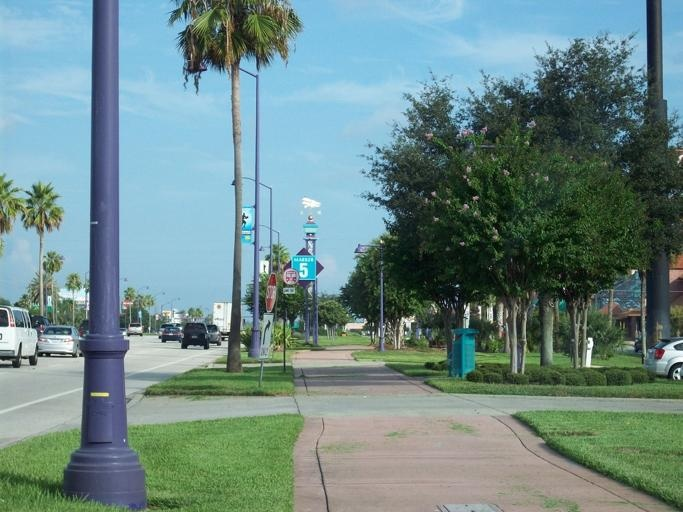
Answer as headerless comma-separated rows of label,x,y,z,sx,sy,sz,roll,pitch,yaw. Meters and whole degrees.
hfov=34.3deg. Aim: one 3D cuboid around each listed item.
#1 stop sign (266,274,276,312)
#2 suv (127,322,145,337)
stop sign,-2.167,1.111,33.943,0.277,1.308,1.221,1,-7,-6
suv,-22.183,7.822,119.166,1.074,1.052,2.077,0,-10,-4
